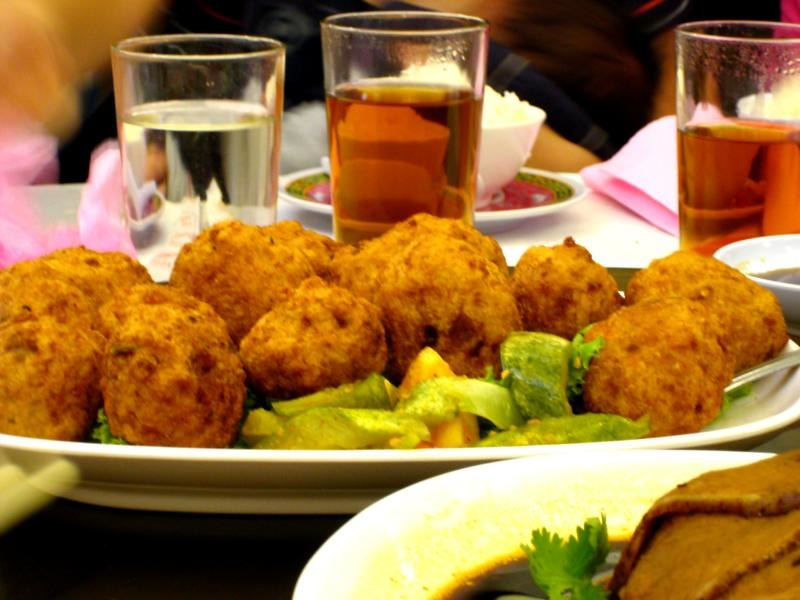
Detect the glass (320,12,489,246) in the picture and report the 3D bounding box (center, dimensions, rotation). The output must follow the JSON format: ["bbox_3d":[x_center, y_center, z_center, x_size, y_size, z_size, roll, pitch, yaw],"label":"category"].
[{"bbox_3d":[0.006,-0.332,1.411,0.292,0.421,0.265,2,25,5],"label":"glass"}]

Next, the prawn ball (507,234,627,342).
[{"bbox_3d":[0.230,-0.022,1.044,0.201,0.122,0.171,19,18,40],"label":"prawn ball"}]

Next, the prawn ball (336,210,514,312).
[{"bbox_3d":[0.019,-0.045,0.990,0.147,0.075,0.174,3,1,-16],"label":"prawn ball"}]

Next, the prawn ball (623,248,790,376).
[{"bbox_3d":[0.411,0.035,1.034,0.179,0.084,0.175,10,30,-6],"label":"prawn ball"}]

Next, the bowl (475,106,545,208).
[{"bbox_3d":[0.205,-0.332,1.664,0.202,0.150,0.195,-1,24,1],"label":"bowl"}]

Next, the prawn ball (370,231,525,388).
[{"bbox_3d":[0.062,0.006,0.917,0.151,0.188,0.112,-9,-19,6],"label":"prawn ball"}]

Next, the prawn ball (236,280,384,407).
[{"bbox_3d":[-0.112,0.035,0.861,0.133,0.059,0.154,-28,37,-36],"label":"prawn ball"}]

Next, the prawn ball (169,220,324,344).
[{"bbox_3d":[-0.197,-0.041,0.980,0.159,0.110,0.199,2,13,13],"label":"prawn ball"}]

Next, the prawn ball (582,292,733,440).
[{"bbox_3d":[0.300,0.052,0.839,0.140,0.095,0.174,4,29,9],"label":"prawn ball"}]

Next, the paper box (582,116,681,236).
[{"bbox_3d":[0.583,-0.300,1.709,0.299,0.104,0.287,-32,47,-30],"label":"paper box"}]

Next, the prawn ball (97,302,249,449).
[{"bbox_3d":[-0.242,0.097,0.791,0.137,0.162,0.101,-1,-13,-16],"label":"prawn ball"}]
